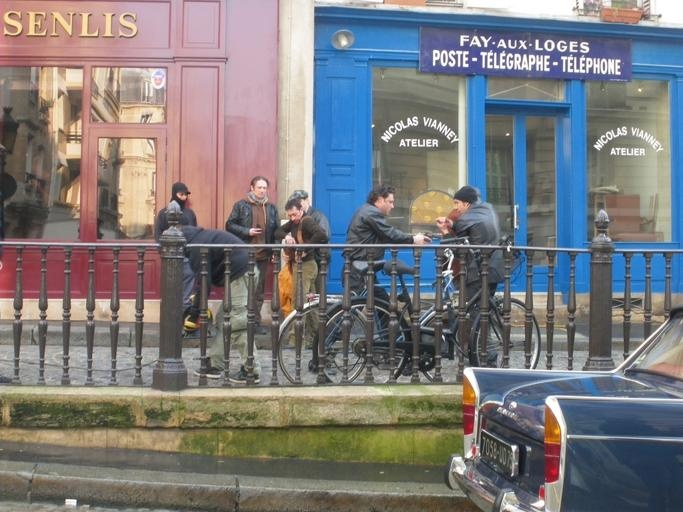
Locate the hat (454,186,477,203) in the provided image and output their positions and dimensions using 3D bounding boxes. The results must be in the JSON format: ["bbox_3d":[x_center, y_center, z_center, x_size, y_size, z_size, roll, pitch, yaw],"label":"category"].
[{"bbox_3d":[1.756,-0.848,20.280,0.252,0.182,0.196,3,2,25],"label":"hat"}]

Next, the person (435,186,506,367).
[{"bbox_3d":[1.723,0.363,19.465,0.974,2.735,0.898,0,-42,8],"label":"person"}]

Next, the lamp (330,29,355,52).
[{"bbox_3d":[0.019,-3.432,23.294,0.315,0.318,0.266,1,18,-9],"label":"lamp"}]

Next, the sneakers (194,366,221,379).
[{"bbox_3d":[-1.723,1.528,19.268,0.386,0.186,0.160,4,0,1],"label":"sneakers"}]

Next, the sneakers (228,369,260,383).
[{"bbox_3d":[-1.246,1.555,18.972,0.366,0.179,0.168,1,-1,13],"label":"sneakers"}]
